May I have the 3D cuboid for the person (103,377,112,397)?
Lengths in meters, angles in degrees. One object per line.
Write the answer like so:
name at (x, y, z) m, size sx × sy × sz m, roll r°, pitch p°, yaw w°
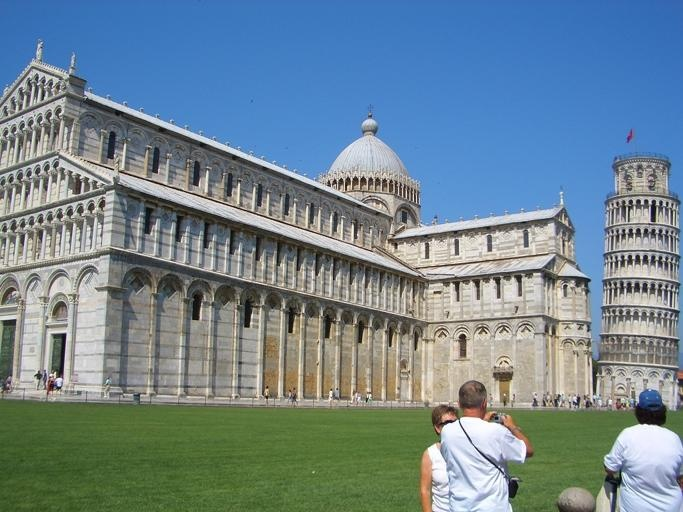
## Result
person at (-14.485, 7.967, 51.537) m, size 0.476 × 1.141 × 1.092 m, roll 5°, pitch -2°, yaw -15°
